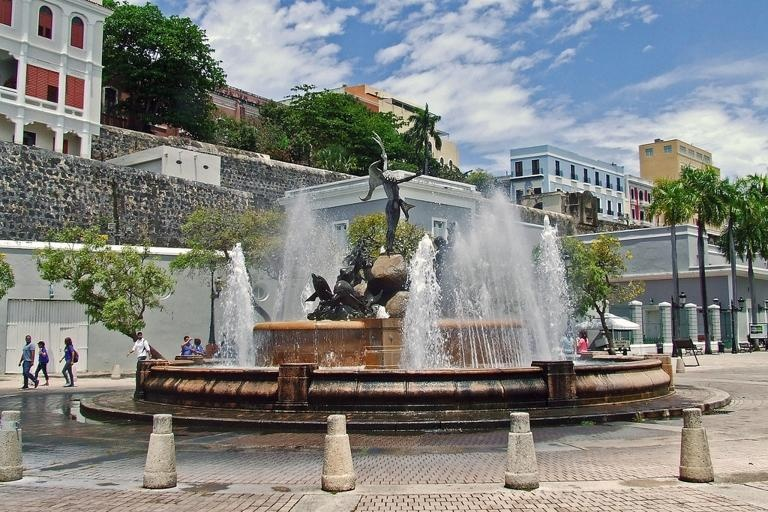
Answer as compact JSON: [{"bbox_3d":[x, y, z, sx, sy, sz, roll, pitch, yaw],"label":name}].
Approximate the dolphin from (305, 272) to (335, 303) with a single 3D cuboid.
[{"bbox_3d":[-2.059,1.056,22.856,0.784,0.940,1.525,-2,6,-7],"label":"dolphin"}]
